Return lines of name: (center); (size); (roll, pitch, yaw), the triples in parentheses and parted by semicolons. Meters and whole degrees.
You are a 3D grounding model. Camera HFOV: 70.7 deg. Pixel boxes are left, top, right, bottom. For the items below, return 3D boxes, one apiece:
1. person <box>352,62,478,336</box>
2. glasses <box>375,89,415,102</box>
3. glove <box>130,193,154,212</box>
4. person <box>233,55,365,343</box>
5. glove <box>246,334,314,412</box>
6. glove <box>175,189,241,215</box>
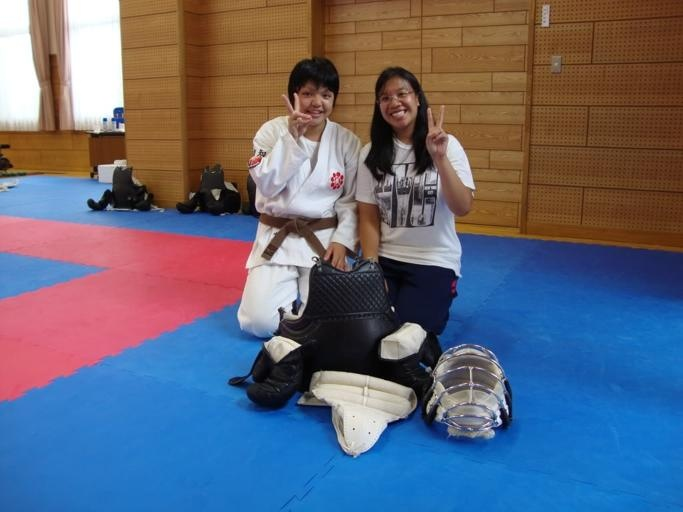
person: (0.357, -0.260, 2.457); (0.602, 1.323, 0.448); (5, 14, 13)
glasses: (0.261, -0.762, 2.292); (0.084, 0.027, 0.086); (-5, 2, 17)
glove: (-2.519, -0.704, 6.233); (0.198, 0.218, 0.236); (8, 15, 23)
person: (-0.212, -0.291, 2.516); (0.607, 1.418, 0.442); (2, 13, 2)
glove: (-0.217, 0.465, 1.920); (0.207, 0.286, 0.119); (27, 8, 37)
glove: (-1.602, -0.674, 5.982); (0.399, 0.198, 0.568); (6, 8, 41)
